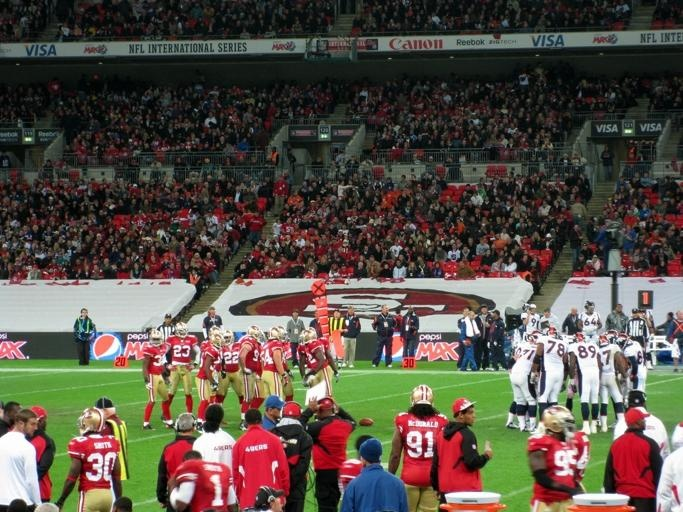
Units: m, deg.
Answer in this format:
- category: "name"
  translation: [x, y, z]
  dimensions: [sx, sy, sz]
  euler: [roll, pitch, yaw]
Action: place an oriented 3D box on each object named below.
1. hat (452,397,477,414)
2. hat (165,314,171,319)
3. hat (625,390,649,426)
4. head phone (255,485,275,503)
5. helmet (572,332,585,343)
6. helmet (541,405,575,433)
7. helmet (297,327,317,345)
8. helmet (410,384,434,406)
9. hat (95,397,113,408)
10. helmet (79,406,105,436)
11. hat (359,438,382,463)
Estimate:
- category: "hat"
  translation: [2.778, 3.556, 31.493]
  dimensions: [0.424, 0.269, 0.333]
  euler: [-28, 6, -1]
- category: "hat"
  translation: [-5.699, 1.991, 44.143]
  dimensions: [0.199, 0.127, 0.341]
  euler: [1, -5, -10]
- category: "hat"
  translation: [6.874, 3.587, 31.800]
  dimensions: [0.509, 0.811, 0.977]
  euler: [1, -3, 13]
- category: "head phone"
  translation: [-1.728, 5.351, 30.071]
  dimensions: [0.252, 0.281, 0.386]
  euler: [16, 29, 37]
- category: "helmet"
  translation: [6.649, 2.324, 38.362]
  dimensions: [0.208, 0.325, 0.271]
  euler: [-7, -13, 35]
- category: "helmet"
  translation: [4.854, 3.724, 30.771]
  dimensions: [0.579, 0.644, 0.498]
  euler: [-7, 3, 6]
- category: "helmet"
  translation: [-1.007, 2.332, 39.027]
  dimensions: [0.428, 0.460, 0.376]
  euler: [8, -9, 0]
- category: "helmet"
  translation: [1.853, 3.334, 31.993]
  dimensions: [0.361, 0.493, 0.547]
  euler: [3, 14, 2]
- category: "hat"
  translation: [-5.709, 3.535, 32.371]
  dimensions: [0.404, 0.242, 0.396]
  euler: [3, -4, -27]
- category: "helmet"
  translation: [-5.889, 3.888, 31.638]
  dimensions: [0.538, 0.645, 0.457]
  euler: [5, 6, 22]
- category: "hat"
  translation: [0.614, 4.403, 30.410]
  dimensions: [0.376, 0.492, 0.531]
  euler: [2, -10, -21]
